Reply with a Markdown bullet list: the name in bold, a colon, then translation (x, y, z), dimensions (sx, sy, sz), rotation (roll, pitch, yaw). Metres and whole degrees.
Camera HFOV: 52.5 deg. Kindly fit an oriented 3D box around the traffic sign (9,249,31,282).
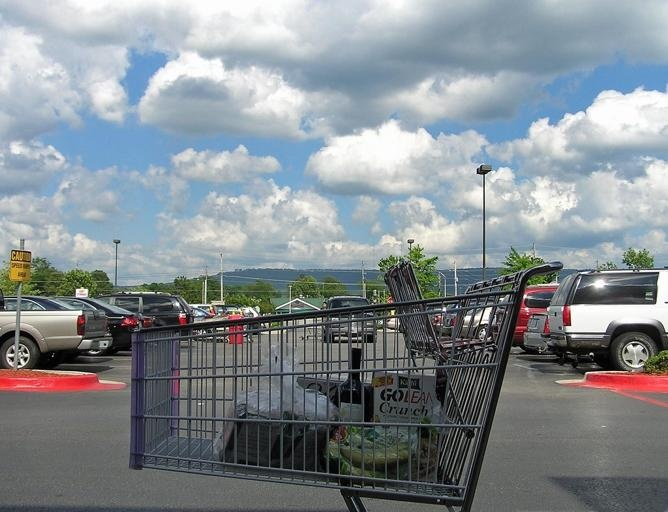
- **traffic sign**: translation (-5.625, 0.169, 12.161), dimensions (0.085, 0.626, 0.609), rotation (-2, 1, 18)
